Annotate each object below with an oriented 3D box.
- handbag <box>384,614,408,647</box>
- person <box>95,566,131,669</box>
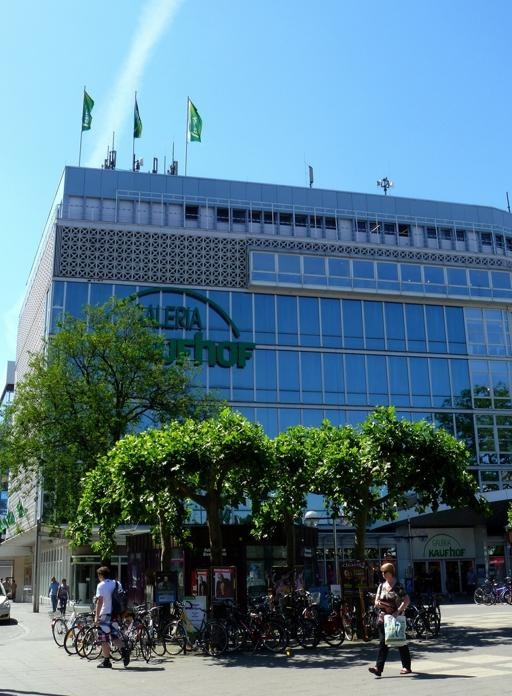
[{"bbox_3d":[1.680,3.441,8.330,0.268,0.381,0.311,-4,-15,8],"label":"handbag"},{"bbox_3d":[-2.191,4.146,10.485,0.473,1.597,1.442,1,-15,-10],"label":"person"}]
